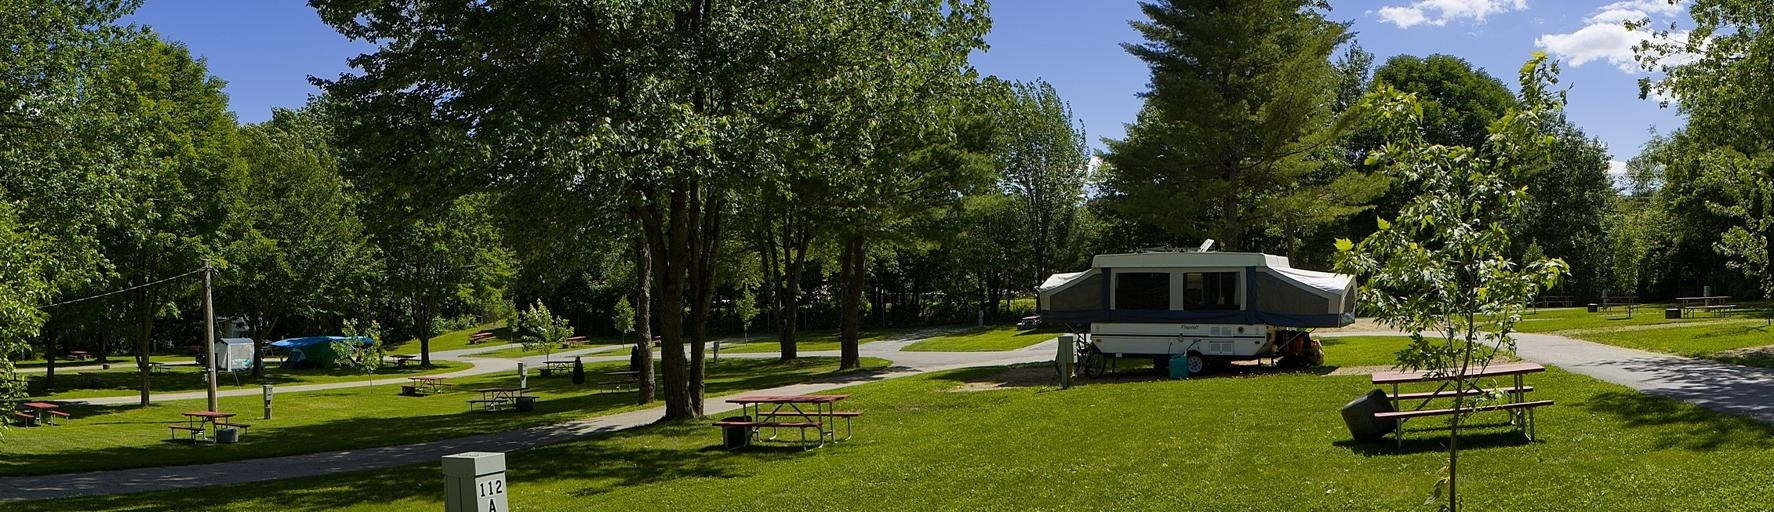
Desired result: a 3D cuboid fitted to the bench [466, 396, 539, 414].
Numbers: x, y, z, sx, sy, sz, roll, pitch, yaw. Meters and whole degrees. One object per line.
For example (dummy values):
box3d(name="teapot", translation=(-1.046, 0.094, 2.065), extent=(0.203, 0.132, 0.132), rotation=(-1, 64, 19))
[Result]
box3d(name="bench", translation=(-41.372, 15.849, 116.824), extent=(7.719, 1.524, 3.116), rotation=(-6, -6, 31))

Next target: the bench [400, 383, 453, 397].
box3d(name="bench", translation=(-52.439, 15.099, 124.028), extent=(5.046, 1.400, 2.787), rotation=(0, -6, -23))

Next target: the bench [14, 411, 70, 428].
box3d(name="bench", translation=(-88.447, 16.894, 114.036), extent=(4.981, 1.532, 2.396), rotation=(-2, -6, -5))
